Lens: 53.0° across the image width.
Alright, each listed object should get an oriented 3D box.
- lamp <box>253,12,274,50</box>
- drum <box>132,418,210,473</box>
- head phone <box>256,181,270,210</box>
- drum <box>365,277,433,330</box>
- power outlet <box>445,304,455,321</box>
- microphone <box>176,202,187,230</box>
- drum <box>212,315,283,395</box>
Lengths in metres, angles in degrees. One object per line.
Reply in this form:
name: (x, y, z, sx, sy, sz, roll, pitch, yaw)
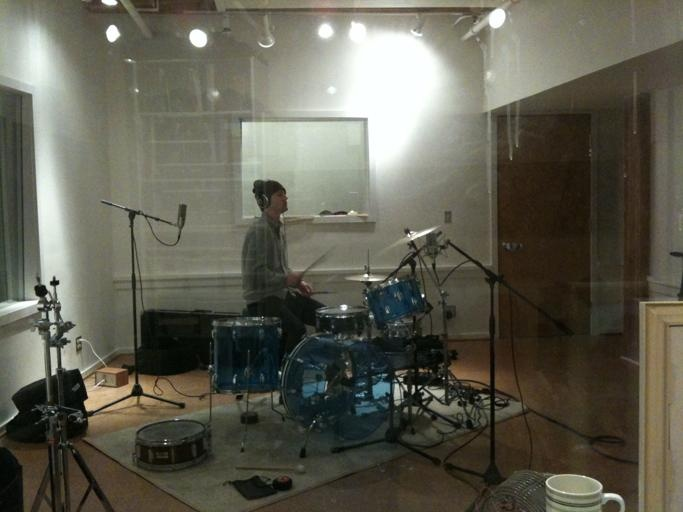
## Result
lamp: (-0.364, -1.116, 3.362, 0.133, 0.210, 0.132, 1, 11, -3)
drum: (-0.826, 0.917, 3.319, 0.347, 0.211, 0.180, -3, 3, 13)
head phone: (-0.398, -0.311, 3.386, 0.056, 0.112, 0.084, -7, 4, 14)
drum: (0.276, 0.212, 3.273, 0.280, 0.213, 0.098, -16, -3, -1)
power outlet: (0.542, 0.275, 3.402, 0.065, 0.063, 0.018, 1, 3, -7)
microphone: (-0.801, -0.201, 3.427, 0.064, 0.124, 0.005, -3, 4, 8)
drum: (-0.459, 0.487, 3.356, 0.338, 0.336, 0.339, 0, -4, -1)
